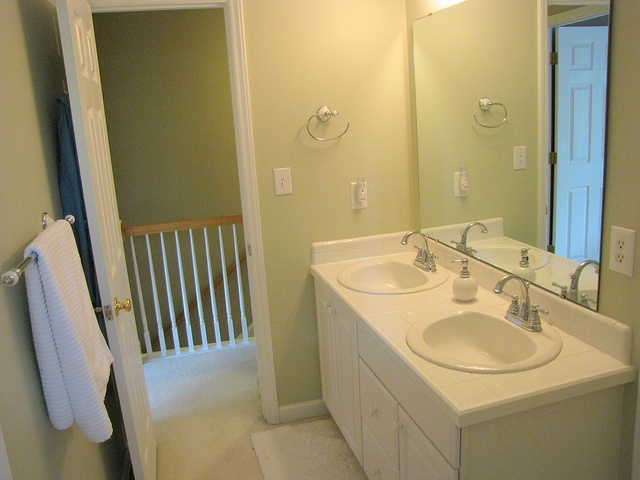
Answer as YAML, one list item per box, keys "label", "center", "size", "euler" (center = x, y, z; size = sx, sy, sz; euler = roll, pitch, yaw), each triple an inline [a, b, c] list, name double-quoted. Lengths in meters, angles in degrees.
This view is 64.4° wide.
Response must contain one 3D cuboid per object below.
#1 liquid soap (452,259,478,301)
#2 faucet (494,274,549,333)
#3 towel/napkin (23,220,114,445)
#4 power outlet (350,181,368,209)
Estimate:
- label: "liquid soap"
  center: [0.647, 0.182, 2.273]
  size: [0.104, 0.168, 0.169]
  euler: [1, 16, 18]
- label: "faucet"
  center: [0.771, 0.230, 1.962]
  size: [0.166, 0.241, 0.261]
  euler: [3, 16, 24]
- label: "towel/napkin"
  center: [-0.953, 0.387, 1.954]
  size: [0.235, 0.880, 0.336]
  euler: [-10, 16, -21]
- label: "power outlet"
  center: [0.217, -0.269, 2.916]
  size: [0.127, 0.215, 0.052]
  euler: [-4, 12, -23]
